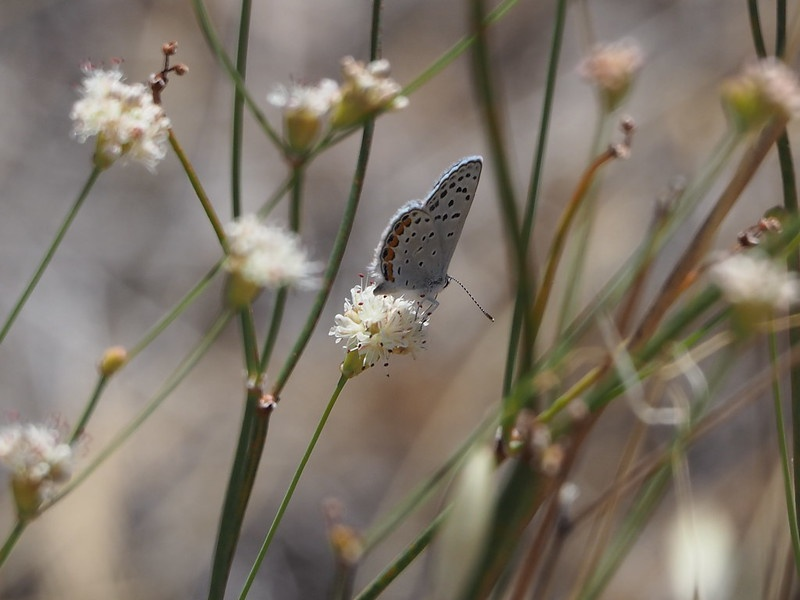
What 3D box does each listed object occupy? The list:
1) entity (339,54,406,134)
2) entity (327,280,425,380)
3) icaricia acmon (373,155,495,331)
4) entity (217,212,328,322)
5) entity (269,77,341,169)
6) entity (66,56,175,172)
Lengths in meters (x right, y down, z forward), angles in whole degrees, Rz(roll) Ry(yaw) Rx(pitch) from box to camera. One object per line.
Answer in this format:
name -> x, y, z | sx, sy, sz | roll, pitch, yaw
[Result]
entity -> -0.042, -0.284, 1.244 | 0.090, 0.094, 0.043 | -12, -106, 11
entity -> -0.029, 0.037, 1.264 | 0.114, 0.119, 0.111 | 34, -86, -2
icaricia acmon -> 0.041, -0.074, 1.488 | 0.160, 0.206, 0.204 | 4, -88, 19
entity -> -0.199, -0.033, 1.207 | 0.130, 0.153, 0.103 | 24, -93, 12
entity -> -0.148, -0.260, 1.289 | 0.091, 0.109, 0.141 | 5, -73, -13
entity -> -0.380, -0.238, 1.285 | 0.124, 0.131, 0.134 | 26, -89, -10
